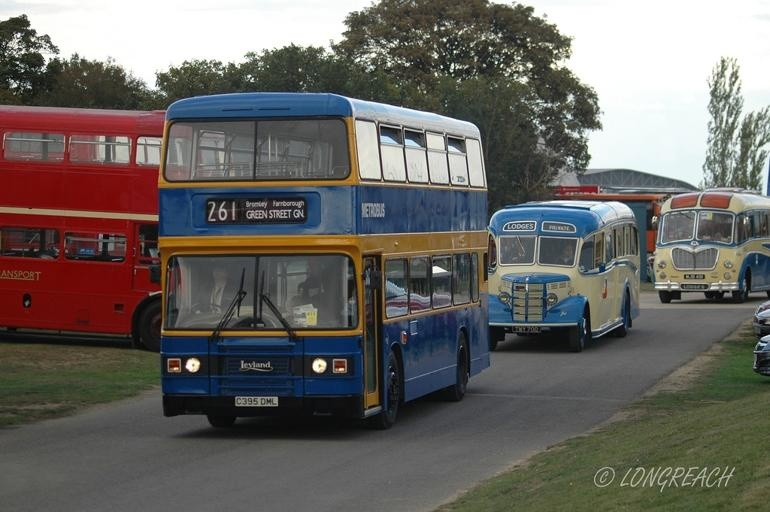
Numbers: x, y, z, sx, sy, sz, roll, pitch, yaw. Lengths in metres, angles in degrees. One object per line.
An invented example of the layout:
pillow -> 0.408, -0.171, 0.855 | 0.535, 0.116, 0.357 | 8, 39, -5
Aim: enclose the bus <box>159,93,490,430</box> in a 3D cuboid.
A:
bus -> -1.182, 0.176, 14.619 | 2.405, 3.423, 6.368 | -1, -1, 19
